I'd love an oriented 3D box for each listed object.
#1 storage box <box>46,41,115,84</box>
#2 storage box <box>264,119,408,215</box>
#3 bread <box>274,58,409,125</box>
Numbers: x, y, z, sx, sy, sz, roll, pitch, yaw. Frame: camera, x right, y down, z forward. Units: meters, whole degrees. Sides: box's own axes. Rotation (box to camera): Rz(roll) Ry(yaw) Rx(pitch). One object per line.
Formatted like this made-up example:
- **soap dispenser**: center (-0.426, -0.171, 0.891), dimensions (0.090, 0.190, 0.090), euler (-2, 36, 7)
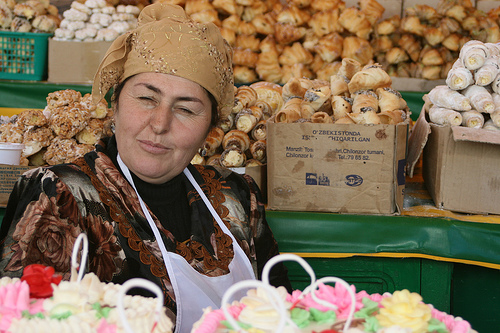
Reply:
- **storage box**: center (-1.423, -0.843, 4.201), dimensions (0.428, 0.273, 0.441), euler (0, 10, -1)
- **storage box**: center (0.461, 0.007, 2.986), dimensions (0.765, 0.475, 0.791), euler (2, 0, 1)
- **bread**: center (0.511, -0.364, 2.776), dimensions (0.556, 0.232, 0.475), euler (0, 26, 8)
